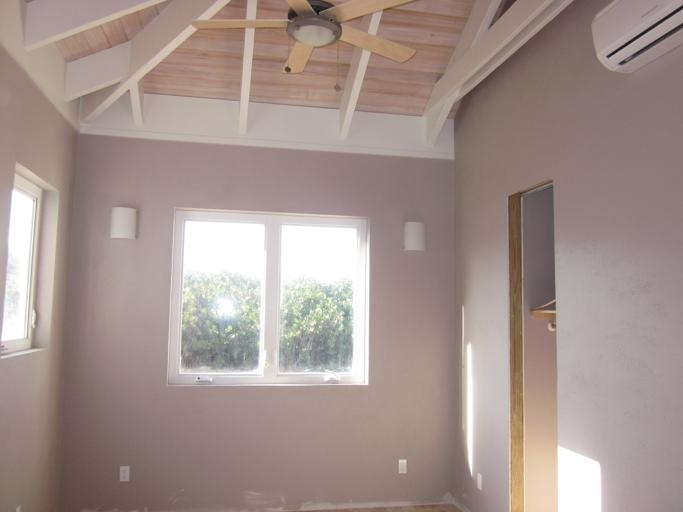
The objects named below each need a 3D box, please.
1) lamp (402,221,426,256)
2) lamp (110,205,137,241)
[{"bbox_3d":[0.645,-0.179,4.601,0.212,0.263,0.226,0,-3,3],"label":"lamp"},{"bbox_3d":[-1.799,-0.275,4.240,0.224,0.280,0.238,1,-4,-10],"label":"lamp"}]
